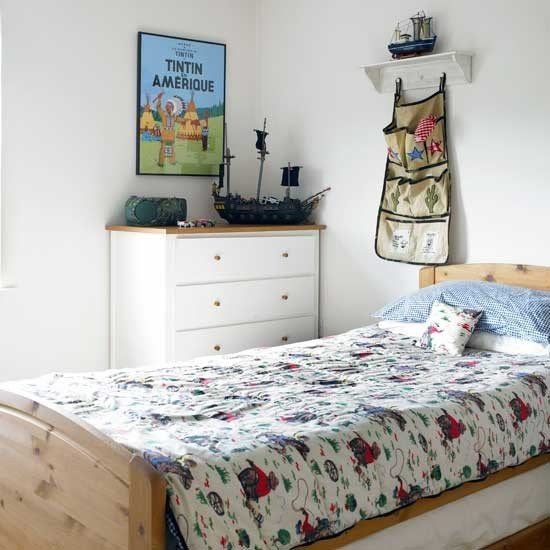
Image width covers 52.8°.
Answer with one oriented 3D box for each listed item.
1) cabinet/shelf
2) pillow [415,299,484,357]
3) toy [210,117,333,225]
[{"bbox_3d":[-0.261,0.179,3.607,1.100,0.920,0.623,-5,12,-24],"label":"cabinet/shelf"},{"bbox_3d":[0.755,0.236,2.406,0.071,0.202,0.234,31,-17,-39],"label":"pillow"},{"bbox_3d":[-0.086,-0.707,3.723,0.574,0.738,0.704,-4,7,-42],"label":"toy"}]
